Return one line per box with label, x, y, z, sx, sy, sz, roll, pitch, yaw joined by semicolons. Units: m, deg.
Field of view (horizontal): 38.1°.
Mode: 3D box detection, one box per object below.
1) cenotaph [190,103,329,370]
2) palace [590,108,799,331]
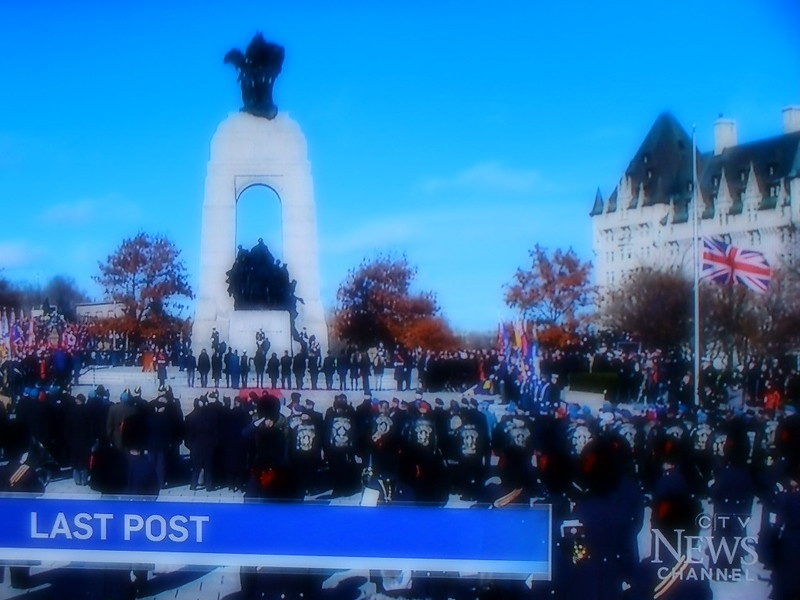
cenotaph;-4.680;-2.172;38.676;3.994;9.925;3.035;1;-27;-10
palace;17.187;-4.029;65.338;5.502;11.438;13.266;3;-3;-34
